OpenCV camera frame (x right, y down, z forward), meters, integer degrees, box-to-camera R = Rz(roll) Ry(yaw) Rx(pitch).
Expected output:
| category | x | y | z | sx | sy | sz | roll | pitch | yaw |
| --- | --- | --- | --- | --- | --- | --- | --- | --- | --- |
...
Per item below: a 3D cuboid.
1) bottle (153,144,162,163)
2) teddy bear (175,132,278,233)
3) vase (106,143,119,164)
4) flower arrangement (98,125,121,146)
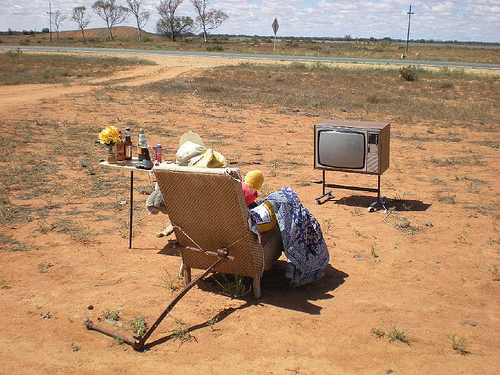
| category | x | y | z | sx | sy | sz | roll | pitch | yaw |
| --- | --- | --- | --- | --- | --- | --- | --- | --- | --- |
| bottle | -1.416 | -0.523 | 7.144 | 0.101 | 0.239 | 0.246 | -6 | 17 | -15 |
| teddy bear | -0.079 | -0.044 | 6.670 | 1.163 | 1.641 | 0.639 | 11 | 51 | 42 |
| vase | -2.244 | -0.595 | 7.552 | 0.194 | 0.328 | 0.560 | -6 | 17 | -16 |
| flower arrangement | -2.207 | -0.805 | 7.371 | 0.329 | 0.324 | 0.246 | -8 | 18 | -23 |
